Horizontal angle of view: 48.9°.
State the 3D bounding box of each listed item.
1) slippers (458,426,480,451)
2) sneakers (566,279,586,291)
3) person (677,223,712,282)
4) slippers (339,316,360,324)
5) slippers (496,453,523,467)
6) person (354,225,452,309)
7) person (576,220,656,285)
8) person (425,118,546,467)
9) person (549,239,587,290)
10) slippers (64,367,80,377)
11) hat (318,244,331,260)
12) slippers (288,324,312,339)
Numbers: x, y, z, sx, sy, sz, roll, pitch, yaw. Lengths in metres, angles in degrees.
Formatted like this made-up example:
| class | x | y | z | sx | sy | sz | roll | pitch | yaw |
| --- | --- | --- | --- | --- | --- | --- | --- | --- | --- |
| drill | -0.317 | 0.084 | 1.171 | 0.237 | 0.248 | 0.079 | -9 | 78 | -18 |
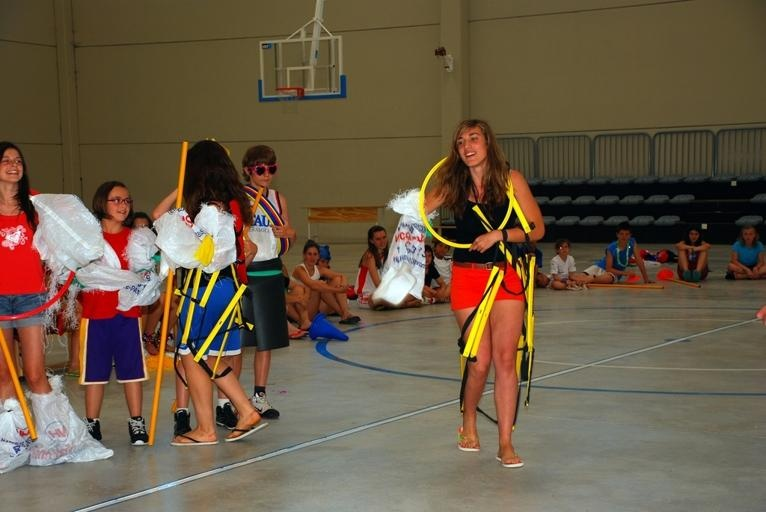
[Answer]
| class | x | y | z | sx | sy | sz | roll | pitch | yaw |
| --- | --- | --- | --- | --- | --- | --- | --- | --- | --- |
| slippers | 0.663 | 1.418 | 6.550 | 0.158 | 0.112 | 0.396 | 0 | -4 | 0 |
| sneakers | 3.091 | 0.486 | 13.593 | 0.179 | 0.098 | 0.224 | 14 | 0 | -35 |
| person | 5.191 | -0.013 | 14.147 | 0.497 | 0.867 | 1.306 | 3 | 11 | 21 |
| slippers | -0.426 | 0.837 | 10.823 | 0.197 | 0.056 | 0.105 | -11 | -7 | 35 |
| slippers | 0.952 | 1.500 | 6.267 | 0.086 | 0.078 | 0.179 | 1 | -5 | -30 |
| person | 0.356 | 0.244 | 11.905 | 1.268 | 1.435 | 1.148 | -3 | 4 | -32 |
| person | 3.759 | 0.007 | 14.024 | 1.217 | 0.984 | 0.902 | -6 | 12 | -15 |
| person | 0.778 | 0.246 | 6.469 | 0.826 | 2.519 | 0.642 | 5 | 11 | 28 |
| person | 2.992 | 0.125 | 13.737 | 0.537 | 0.795 | 0.563 | 2 | 10 | 11 |
| slippers | -3.069 | 1.147 | 8.391 | 0.172 | 0.080 | 0.069 | 6 | -14 | 31 |
| hat | -0.788 | -0.029 | 11.822 | 0.193 | 0.229 | 0.271 | 6 | -14 | -11 |
| slippers | -1.017 | 0.911 | 10.060 | 0.335 | 0.141 | 0.103 | 17 | -3 | -6 |
